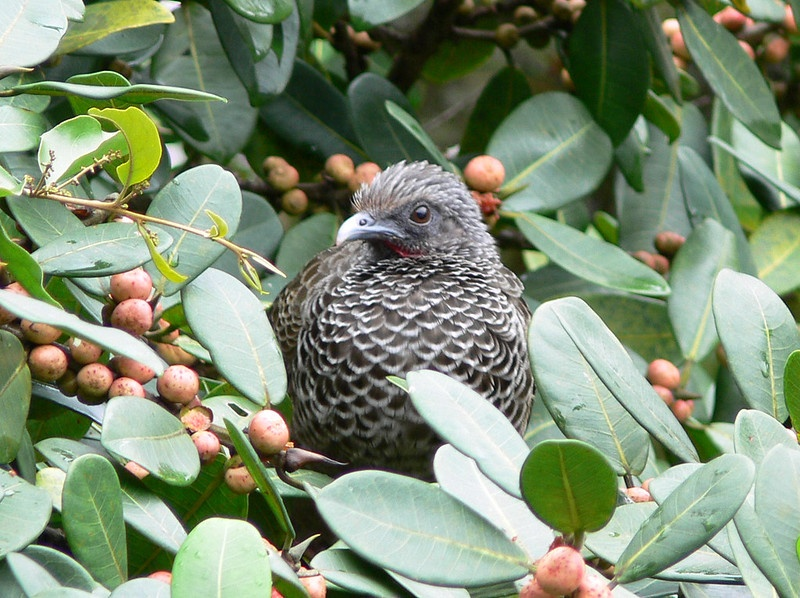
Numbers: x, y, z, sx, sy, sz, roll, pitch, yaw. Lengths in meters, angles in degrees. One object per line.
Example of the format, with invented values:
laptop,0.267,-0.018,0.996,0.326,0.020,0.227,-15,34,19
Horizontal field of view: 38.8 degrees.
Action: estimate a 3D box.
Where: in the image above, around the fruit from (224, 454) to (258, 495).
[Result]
fruit,-0.245,0.269,1.719,0.030,0.057,0.056,-28,3,2
